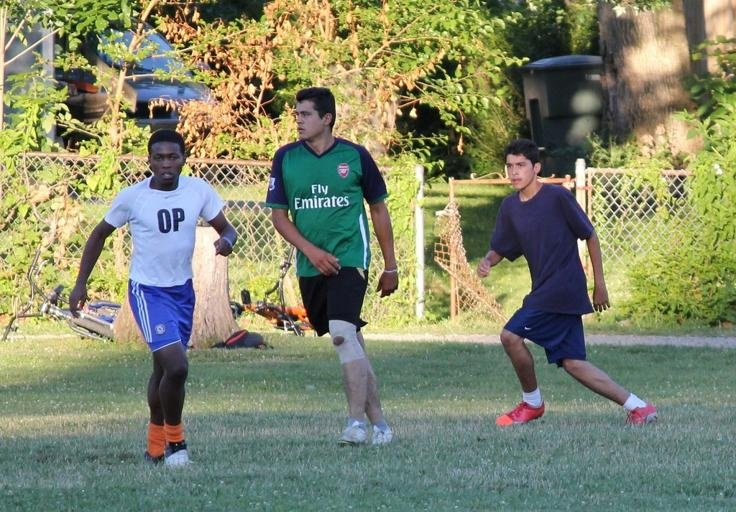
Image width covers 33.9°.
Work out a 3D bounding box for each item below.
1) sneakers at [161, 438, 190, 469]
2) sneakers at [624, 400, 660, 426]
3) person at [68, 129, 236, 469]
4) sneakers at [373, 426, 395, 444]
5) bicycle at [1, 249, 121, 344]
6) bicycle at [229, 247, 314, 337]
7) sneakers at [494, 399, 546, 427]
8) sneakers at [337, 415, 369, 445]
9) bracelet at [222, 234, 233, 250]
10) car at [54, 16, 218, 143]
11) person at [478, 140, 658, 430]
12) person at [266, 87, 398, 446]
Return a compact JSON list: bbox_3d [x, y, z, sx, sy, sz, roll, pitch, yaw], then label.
[{"bbox_3d":[-1.756,1.769,10.970,0.255,0.212,0.287,-1,8,-9],"label":"sneakers"},{"bbox_3d":[2.716,1.568,11.972,0.295,0.144,0.155,-6,-5,-6],"label":"sneakers"},{"bbox_3d":[-1.911,0.363,11.084,1.393,2.977,0.804,-1,8,-7],"label":"person"},{"bbox_3d":[0.124,1.702,11.493,0.104,0.148,0.212,-2,-15,7],"label":"sneakers"},{"bbox_3d":[-4.232,0.571,16.262,1.244,0.831,0.785,21,-1,8],"label":"bicycle"},{"bbox_3d":[-1.402,0.524,17.139,1.184,1.270,0.692,7,31,19],"label":"bicycle"},{"bbox_3d":[1.537,1.557,12.236,0.540,0.224,0.198,-7,2,-15],"label":"sneakers"},{"bbox_3d":[-0.150,1.623,11.460,0.266,0.259,0.330,0,8,-1],"label":"sneakers"},{"bbox_3d":[-1.308,-0.143,11.168,0.110,0.086,0.098,7,-2,-11],"label":"bracelet"},{"bbox_3d":[-4.164,-3.183,21.753,3.020,1.678,1.924,-3,2,32],"label":"car"},{"bbox_3d":[1.774,0.256,12.131,1.285,2.803,0.517,1,8,9],"label":"person"},{"bbox_3d":[-0.334,0.085,11.448,1.196,3.309,0.699,0,8,1],"label":"person"}]
